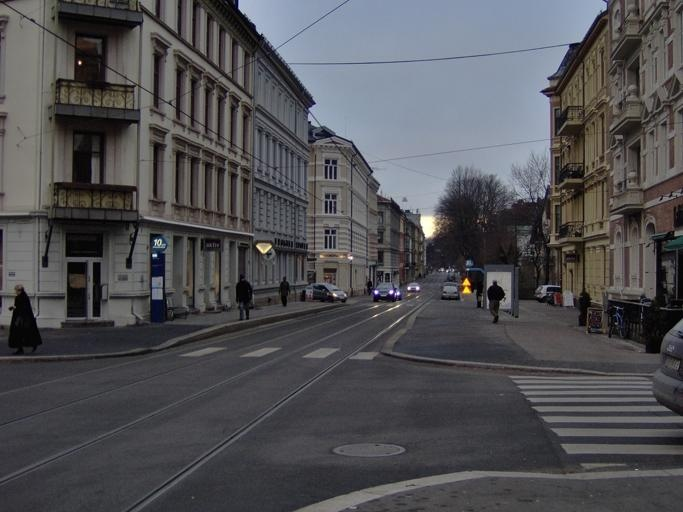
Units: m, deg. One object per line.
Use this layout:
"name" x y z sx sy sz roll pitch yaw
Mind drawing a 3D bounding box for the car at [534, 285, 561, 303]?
"car" 16.010 2.980 61.661 1.781 1.090 1.059 -5 3 -18

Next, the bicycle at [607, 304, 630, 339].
"bicycle" 9.947 2.373 28.635 0.606 1.015 1.481 4 4 -3

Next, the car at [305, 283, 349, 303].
"car" -1.354 2.938 61.522 2.409 1.272 1.576 -6 -5 31

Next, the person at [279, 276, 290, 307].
"person" -3.536 2.254 49.046 0.494 1.770 1.597 0 1 -5

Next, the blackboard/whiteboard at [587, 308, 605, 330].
"blackboard/whiteboard" 9.649 2.519 30.539 0.549 1.073 0.792 1 -3 4

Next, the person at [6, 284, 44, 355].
"person" -9.018 1.807 22.752 0.857 1.958 1.150 -1 1 -23

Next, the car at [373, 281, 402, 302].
"car" 3.723 3.092 65.804 2.152 1.371 3.479 0 1 5
